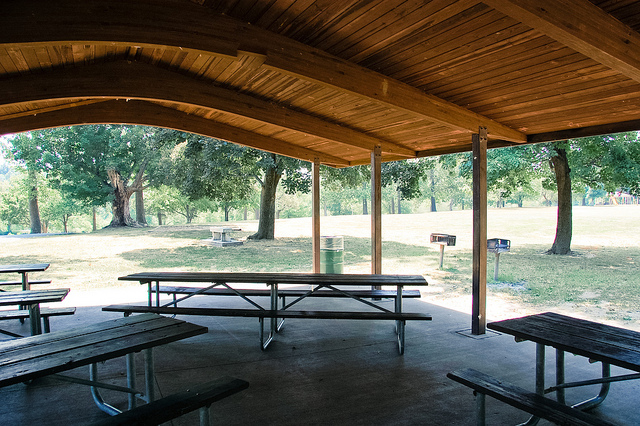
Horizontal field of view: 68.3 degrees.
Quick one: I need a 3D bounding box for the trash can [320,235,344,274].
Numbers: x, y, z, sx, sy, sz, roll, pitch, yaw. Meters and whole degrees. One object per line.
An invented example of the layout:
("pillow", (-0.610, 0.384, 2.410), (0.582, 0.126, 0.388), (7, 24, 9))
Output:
("trash can", (0.247, 0.980, 11.120), (0.550, 0.841, 0.660), (-1, 2, -2))
